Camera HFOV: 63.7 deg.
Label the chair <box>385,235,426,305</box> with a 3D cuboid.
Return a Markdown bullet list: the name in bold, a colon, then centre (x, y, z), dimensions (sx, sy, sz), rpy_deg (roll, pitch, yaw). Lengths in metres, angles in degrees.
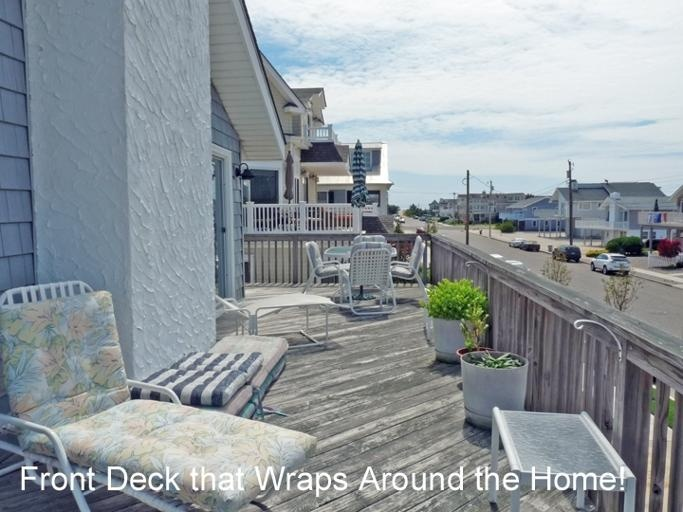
- **chair**: centre (1.180, 0.165, 9.048), dimensions (0.659, 0.970, 0.590), rpy_deg (6, 7, 31)

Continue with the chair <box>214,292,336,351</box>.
- **chair**: centre (-0.709, 0.618, 6.143), dimensions (1.274, 0.702, 0.786), rpy_deg (-3, 5, -16)

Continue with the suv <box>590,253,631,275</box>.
- **suv**: centre (15.778, 0.509, 32.061), dimensions (1.312, 1.191, 2.865), rpy_deg (-1, 11, -3)

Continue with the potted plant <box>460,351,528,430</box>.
- **potted plant**: centre (1.152, 1.025, 4.270), dimensions (0.552, 0.591, 0.467), rpy_deg (4, -6, -31)

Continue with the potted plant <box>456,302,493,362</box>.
- **potted plant**: centre (1.096, 0.700, 4.687), dimensions (0.173, 0.346, 0.200), rpy_deg (-19, -6, 9)

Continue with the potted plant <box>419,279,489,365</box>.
- **potted plant**: centre (1.064, 0.702, 5.614), dimensions (0.433, 0.677, 0.548), rpy_deg (0, -7, 23)

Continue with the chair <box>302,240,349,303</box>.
- **chair**: centre (-0.200, 0.206, 8.818), dimensions (0.653, 0.668, 0.676), rpy_deg (-16, 16, -21)
